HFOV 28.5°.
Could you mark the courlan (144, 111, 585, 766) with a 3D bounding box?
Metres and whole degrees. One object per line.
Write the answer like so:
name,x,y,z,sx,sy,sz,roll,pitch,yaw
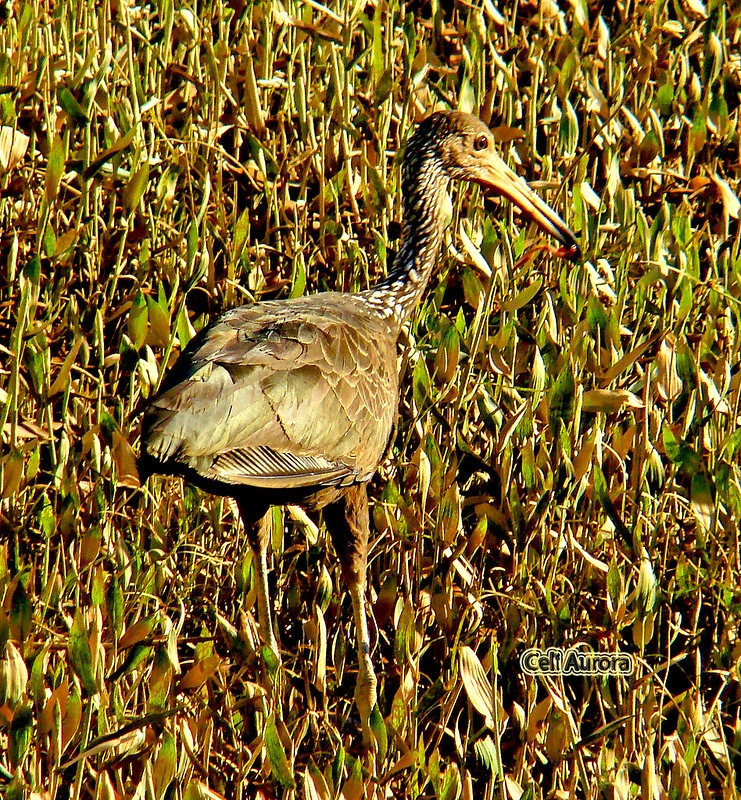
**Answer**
courlan,-0.197,-0.085,4.920,0.837,1.109,1.630,14,47,3
